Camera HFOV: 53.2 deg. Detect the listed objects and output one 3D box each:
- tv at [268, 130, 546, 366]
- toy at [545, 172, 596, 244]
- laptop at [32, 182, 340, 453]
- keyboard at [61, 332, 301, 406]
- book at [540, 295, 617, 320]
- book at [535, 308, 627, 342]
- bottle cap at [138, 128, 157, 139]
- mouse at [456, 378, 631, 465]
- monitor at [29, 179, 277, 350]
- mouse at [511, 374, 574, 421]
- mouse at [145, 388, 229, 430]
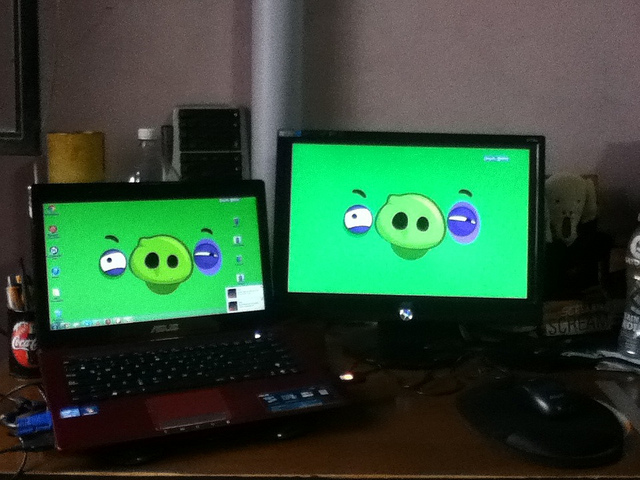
[{"bbox_3d":[0.185,0.008,1.416,0.573,0.459,0.212,1,0,-1],"label":"tv"},{"bbox_3d":[0.599,-0.078,1.537,0.133,0.152,0.093,-3,11,11],"label":"toy"},{"bbox_3d":[-0.258,0.116,1.196,0.502,0.284,0.447,-5,28,-26],"label":"laptop"},{"bbox_3d":[-0.261,0.238,1.203,0.422,0.056,0.131,-7,12,-15],"label":"keyboard"},{"bbox_3d":[0.604,0.158,1.500,0.194,0.058,0.006,-5,-28,-1],"label":"book"},{"bbox_3d":[0.604,0.199,1.462,0.241,0.043,0.073,-6,12,-10],"label":"book"},{"bbox_3d":[-0.423,-0.260,1.559,0.046,0.027,0.012,-1,13,14],"label":"bottle cap"},{"bbox_3d":[0.399,0.277,1.124,0.163,0.046,0.178,-5,14,-24],"label":"mouse"},{"bbox_3d":[-0.356,0.057,1.298,0.364,0.229,0.016,-3,-3,-18],"label":"monitor"},{"bbox_3d":[0.418,0.287,1.176,0.071,0.020,0.077,-7,17,-26],"label":"mouse"},{"bbox_3d":[-0.231,0.293,1.105,0.135,0.029,0.077,-7,12,-15],"label":"mouse"}]
